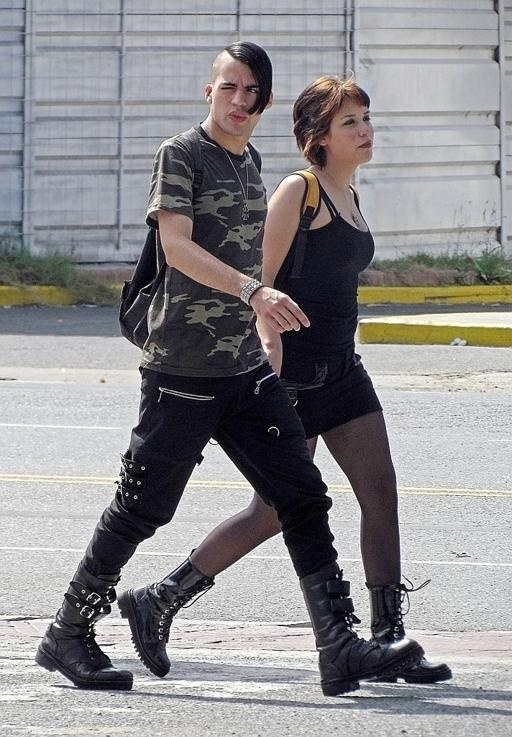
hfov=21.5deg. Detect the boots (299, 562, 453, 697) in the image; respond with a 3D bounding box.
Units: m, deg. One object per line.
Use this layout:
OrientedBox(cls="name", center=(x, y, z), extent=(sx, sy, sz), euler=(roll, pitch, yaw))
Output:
OrientedBox(cls="boots", center=(0.362, 0.769, 4.023), extent=(0.299, 0.320, 0.424), euler=(8, 4, 44))
